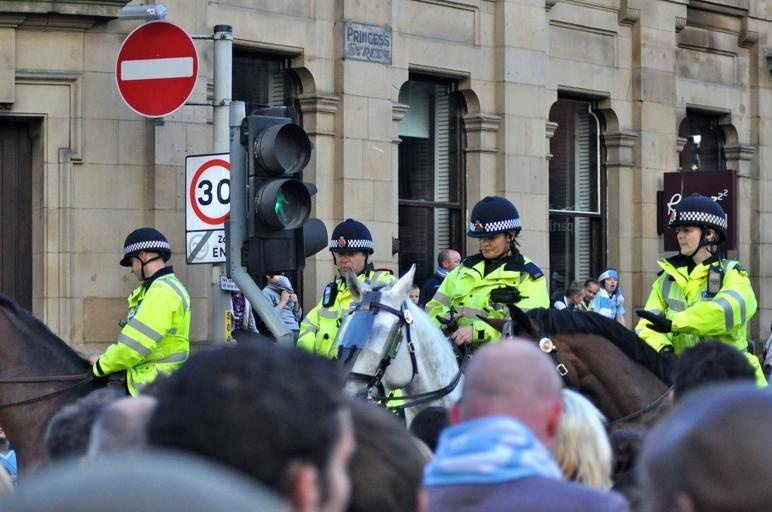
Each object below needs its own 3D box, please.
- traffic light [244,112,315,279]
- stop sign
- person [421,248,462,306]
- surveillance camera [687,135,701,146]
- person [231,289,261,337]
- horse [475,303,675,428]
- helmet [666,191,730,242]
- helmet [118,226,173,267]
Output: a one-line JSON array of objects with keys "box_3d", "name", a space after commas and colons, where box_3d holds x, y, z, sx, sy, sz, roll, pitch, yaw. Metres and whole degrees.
[{"box_3d": [-1.357, -0.767, 25.072, 0.854, 2.008, 0.413, 1, -1, -10], "name": "traffic light"}, {"box_3d": [-3.046, -2.523, 26.940, 1.226, 1.282, 0.325, 1, -1, 32], "name": "stop sign"}, {"box_3d": [0.759, 0.323, 27.793, 0.362, 0.942, 0.478, 9, 28, -6], "name": "person"}, {"box_3d": [5.377, -2.012, 35.355, 0.183, 0.200, 0.318, -4, 1, 22], "name": "surveillance camera"}, {"box_3d": [-1.935, 0.793, 28.100, 0.358, 0.541, 1.203, 1, -1, -3], "name": "person"}, {"box_3d": [2.014, 1.562, 23.664, 0.919, 1.725, 3.027, -3, -7, 23], "name": "horse"}, {"box_3d": [3.830, -0.461, 24.340, 0.744, 0.396, 0.513, 9, -8, -8], "name": "helmet"}, {"box_3d": [-3.017, -0.153, 25.681, 0.670, 0.352, 0.460, -2, 2, 18], "name": "helmet"}]
